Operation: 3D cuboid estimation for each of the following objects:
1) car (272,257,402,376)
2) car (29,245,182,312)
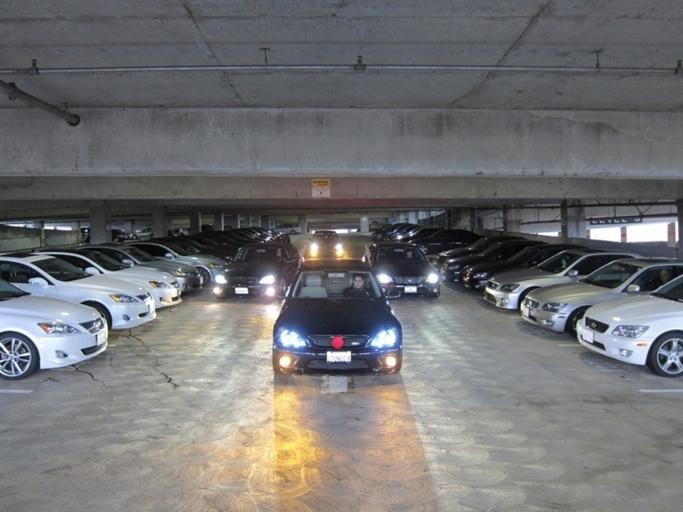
[{"bbox_3d":[-0.046,0.984,9.546,1.971,1.491,1.965,-2,0,2],"label":"car"},{"bbox_3d":[-6.111,0.447,14.348,4.049,0.889,1.400,4,5,4],"label":"car"}]
